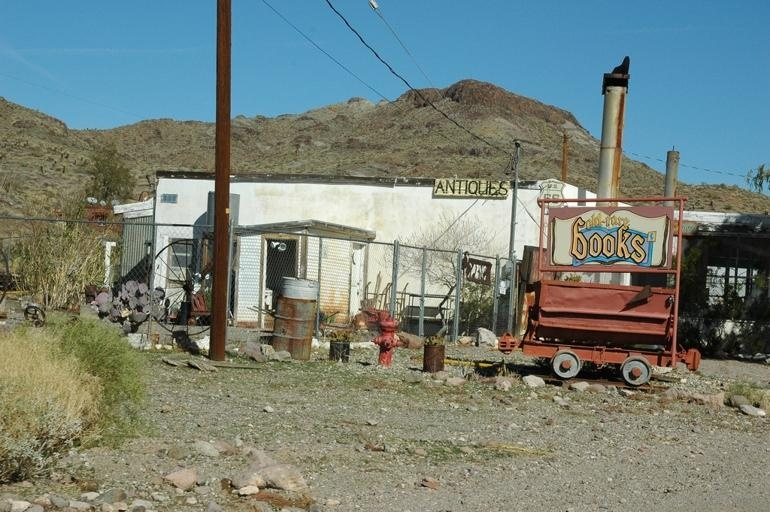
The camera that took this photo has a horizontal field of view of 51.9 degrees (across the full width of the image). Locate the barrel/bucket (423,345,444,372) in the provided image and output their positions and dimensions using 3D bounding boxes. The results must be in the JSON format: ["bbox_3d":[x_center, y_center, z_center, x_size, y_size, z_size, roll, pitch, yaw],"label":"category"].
[{"bbox_3d":[1.030,2.141,16.630,0.470,0.562,0.492,1,-7,0],"label":"barrel/bucket"}]

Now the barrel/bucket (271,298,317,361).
[{"bbox_3d":[-1.946,1.469,16.934,0.980,1.264,1.026,6,4,0],"label":"barrel/bucket"}]

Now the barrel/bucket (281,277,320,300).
[{"bbox_3d":[-1.898,0.690,16.783,0.527,0.300,0.541,5,-3,0],"label":"barrel/bucket"}]

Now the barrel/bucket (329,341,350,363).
[{"bbox_3d":[-0.942,2.051,16.960,0.397,0.455,0.418,1,-4,0],"label":"barrel/bucket"}]
